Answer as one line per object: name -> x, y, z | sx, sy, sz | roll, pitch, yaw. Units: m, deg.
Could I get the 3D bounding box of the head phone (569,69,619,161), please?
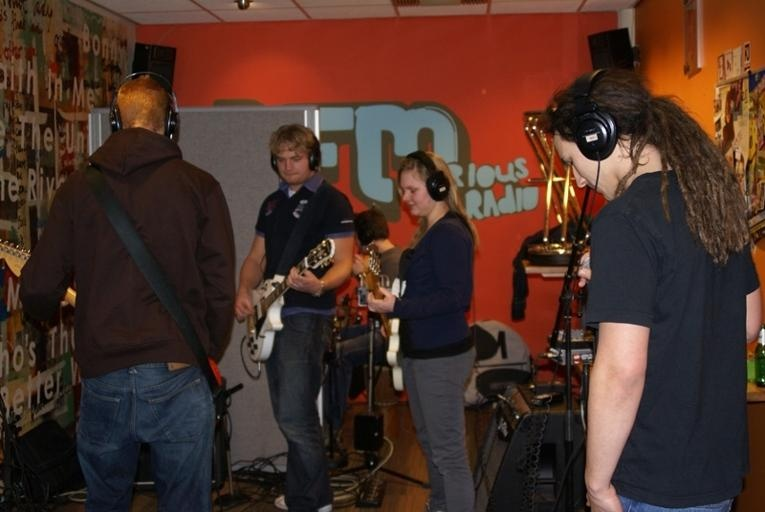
head phone -> 0.781, -0.515, 2.835 | 0.120, 0.285, 0.309 | -14, -4, 29

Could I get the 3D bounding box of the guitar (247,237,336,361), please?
guitar -> -0.517, 0.248, 4.416 | 0.124, 0.291, 0.660 | 11, -38, -29

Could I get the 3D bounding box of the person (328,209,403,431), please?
person -> -0.171, 0.431, 5.374 | 0.226, 1.500, 0.626 | 3, 0, -20

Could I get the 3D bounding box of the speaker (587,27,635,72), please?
speaker -> 1.860, -1.690, 6.292 | 0.372, 0.352, 0.224 | 0, 4, 14

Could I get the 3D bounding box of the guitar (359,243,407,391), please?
guitar -> 0.033, 0.334, 4.450 | 0.120, 0.808, 0.395 | -1, -3, -13

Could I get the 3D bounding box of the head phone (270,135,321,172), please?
head phone -> -0.505, -0.584, 4.537 | 0.232, 0.226, 0.240 | 1, -33, 0
